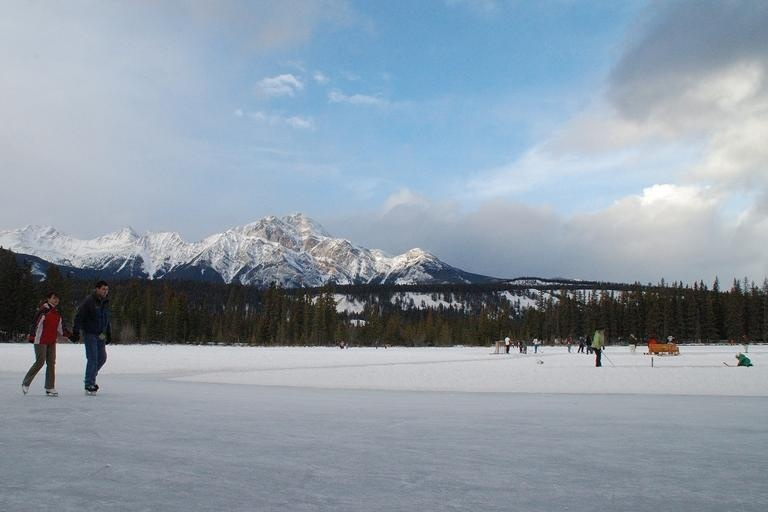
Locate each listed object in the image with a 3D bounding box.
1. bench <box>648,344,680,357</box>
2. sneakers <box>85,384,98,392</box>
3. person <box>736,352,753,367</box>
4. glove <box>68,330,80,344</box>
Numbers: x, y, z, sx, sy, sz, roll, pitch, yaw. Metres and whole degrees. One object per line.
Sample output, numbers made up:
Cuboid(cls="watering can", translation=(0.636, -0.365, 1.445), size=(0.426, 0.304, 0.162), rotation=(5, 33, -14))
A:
Cuboid(cls="bench", translation=(23.071, 7.623, 61.744), size=(2.113, 0.916, 1.502), rotation=(-6, -13, 36))
Cuboid(cls="sneakers", translation=(-8.782, 3.967, 22.617), size=(0.382, 0.280, 0.216), rotation=(-7, -7, 2))
Cuboid(cls="person", translation=(18.771, 5.347, 39.076), size=(0.593, 0.796, 3.958), rotation=(-4, -12, 27))
Cuboid(cls="glove", translation=(-8.863, 2.309, 21.473), size=(0.324, 0.444, 0.448), rotation=(6, -1, -12))
